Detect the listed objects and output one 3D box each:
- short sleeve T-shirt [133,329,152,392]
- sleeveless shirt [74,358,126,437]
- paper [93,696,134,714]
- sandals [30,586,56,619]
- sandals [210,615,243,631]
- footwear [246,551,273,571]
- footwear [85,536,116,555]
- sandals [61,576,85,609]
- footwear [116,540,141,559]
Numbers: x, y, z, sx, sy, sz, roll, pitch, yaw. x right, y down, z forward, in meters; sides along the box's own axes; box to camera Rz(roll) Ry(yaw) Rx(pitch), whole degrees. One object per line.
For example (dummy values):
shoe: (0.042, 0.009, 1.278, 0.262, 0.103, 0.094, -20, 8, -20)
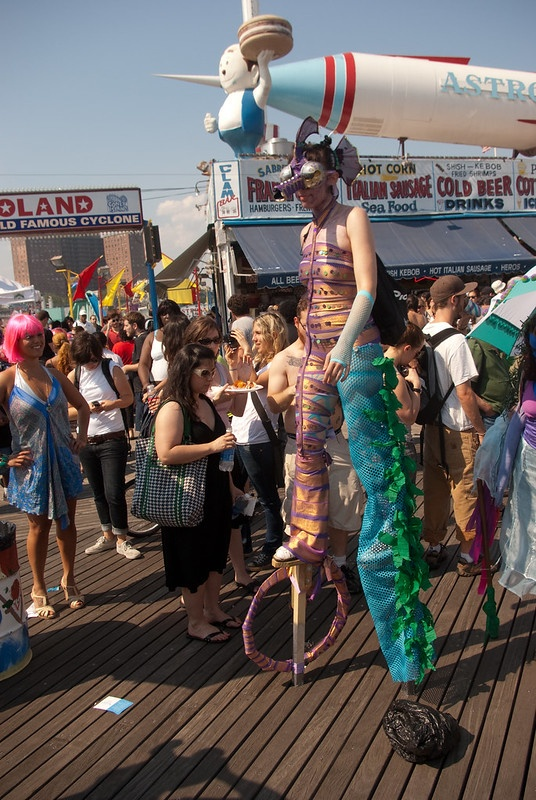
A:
short sleeve T-shirt: (-1.885, -0.604, 8.573, 0.261, 0.732, 0.542, 4, 9, 5)
sleeveless shirt: (-1.277, -0.022, 4.295, 0.361, 0.603, 0.339, -31, -24, 26)
paper: (-0.675, 1.336, 2.474, 0.176, 0.014, 0.119, -3, 3, 29)
sandals: (-1.427, 1.271, 3.546, 0.105, 0.098, 0.255, 2, 0, -28)
sandals: (-0.236, 1.241, 3.174, 0.139, 0.035, 0.073, 0, 2, 31)
footwear: (-0.040, 1.159, 4.079, 0.081, 0.092, 0.230, 4, 1, 40)
footwear: (-1.377, 1.215, 4.743, 0.291, 0.115, 0.103, -1, -1, -32)
sandals: (-1.285, 1.241, 3.681, 0.102, 0.067, 0.250, 3, 21, -42)
footwear: (-1.108, 1.193, 4.536, 0.102, 0.099, 0.252, -7, 7, -44)
